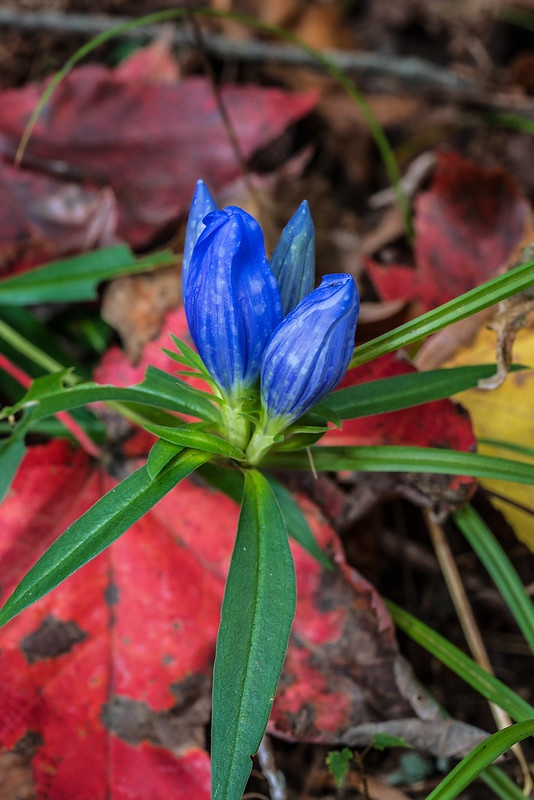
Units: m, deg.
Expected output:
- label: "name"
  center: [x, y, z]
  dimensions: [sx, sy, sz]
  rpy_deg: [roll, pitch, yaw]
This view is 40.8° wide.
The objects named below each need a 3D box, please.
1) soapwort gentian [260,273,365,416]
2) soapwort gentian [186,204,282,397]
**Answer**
- label: "soapwort gentian"
  center: [0.032, -0.038, 0.565]
  dimensions: [0.074, 0.125, 0.039]
  rpy_deg: [-21, 57, -14]
- label: "soapwort gentian"
  center: [-0.027, -0.075, 0.588]
  dimensions: [0.076, 0.163, 0.067]
  rpy_deg: [30, 60, 21]
